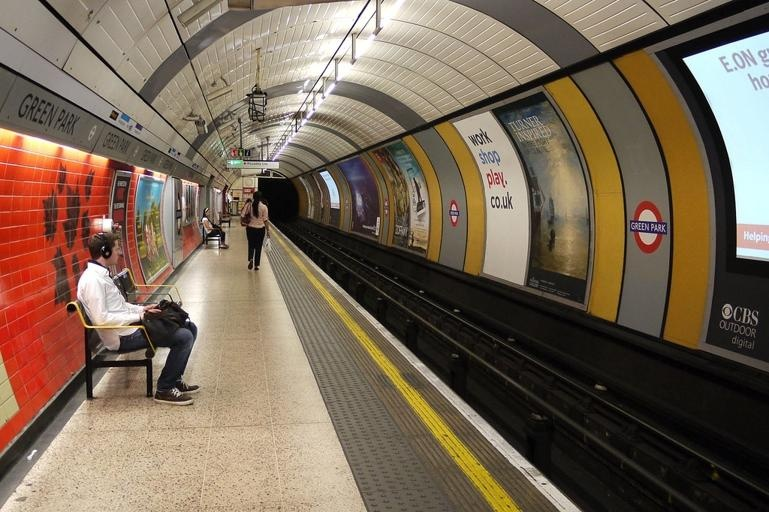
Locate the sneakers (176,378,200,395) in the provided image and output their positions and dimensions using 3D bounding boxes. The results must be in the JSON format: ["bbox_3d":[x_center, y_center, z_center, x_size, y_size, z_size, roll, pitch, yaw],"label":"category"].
[{"bbox_3d":[-2.315,1.537,4.636,0.306,0.144,0.107,-1,5,-19],"label":"sneakers"}]

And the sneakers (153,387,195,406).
[{"bbox_3d":[-2.361,1.570,4.446,0.418,0.208,0.173,4,1,-6],"label":"sneakers"}]

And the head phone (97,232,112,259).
[{"bbox_3d":[-3.033,-0.112,4.259,0.100,0.237,0.245,-2,2,-21],"label":"head phone"}]

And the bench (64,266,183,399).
[{"bbox_3d":[-3.115,0.964,4.630,0.523,0.640,1.423,0,5,-10],"label":"bench"}]

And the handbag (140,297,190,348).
[{"bbox_3d":[-2.427,0.743,4.429,0.201,0.420,0.482,-40,-3,40],"label":"handbag"}]

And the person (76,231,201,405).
[{"bbox_3d":[-2.773,0.729,4.531,1.223,1.876,0.909,2,2,-29],"label":"person"}]

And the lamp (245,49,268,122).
[{"bbox_3d":[-3.298,-4.491,10.148,0.538,0.399,1.317,-4,-36,-18],"label":"lamp"}]
